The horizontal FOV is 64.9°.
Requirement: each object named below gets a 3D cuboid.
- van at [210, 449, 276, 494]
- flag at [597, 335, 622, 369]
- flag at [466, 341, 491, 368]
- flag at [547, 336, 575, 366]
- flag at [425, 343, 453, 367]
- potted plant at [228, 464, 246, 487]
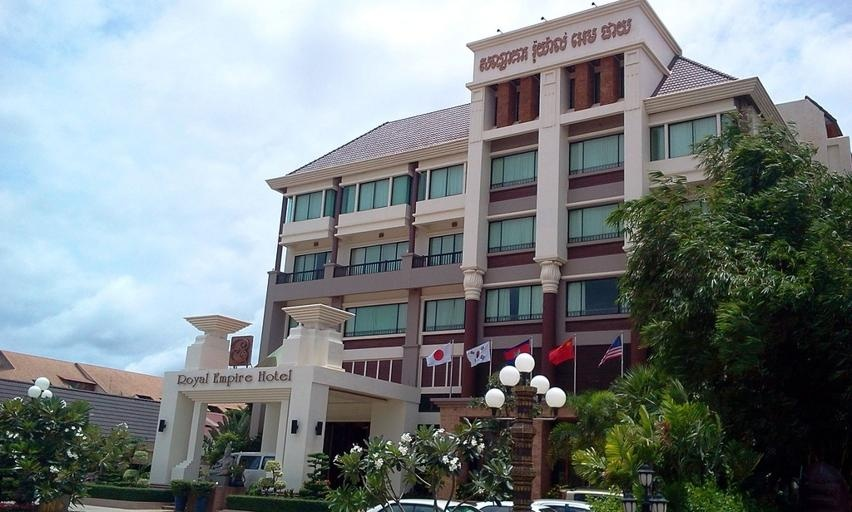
[{"bbox_3d":[-9.444,10.790,34.212,3.170,1.596,2.085,0,-28,7],"label":"van"},{"bbox_3d":[9.798,4.786,35.332,1.407,1.621,3.468,-5,-24,14],"label":"flag"},{"bbox_3d":[2.955,5.603,37.765,1.670,1.369,0.252,-17,-13,42],"label":"flag"},{"bbox_3d":[7.363,5.187,36.398,1.784,1.674,0.300,4,13,24],"label":"flag"},{"bbox_3d":[0.810,5.820,38.946,1.899,1.311,0.274,-12,-24,42],"label":"flag"},{"bbox_3d":[-9.605,11.127,33.903,0.809,1.001,0.446,4,-24,-5],"label":"potted plant"}]
